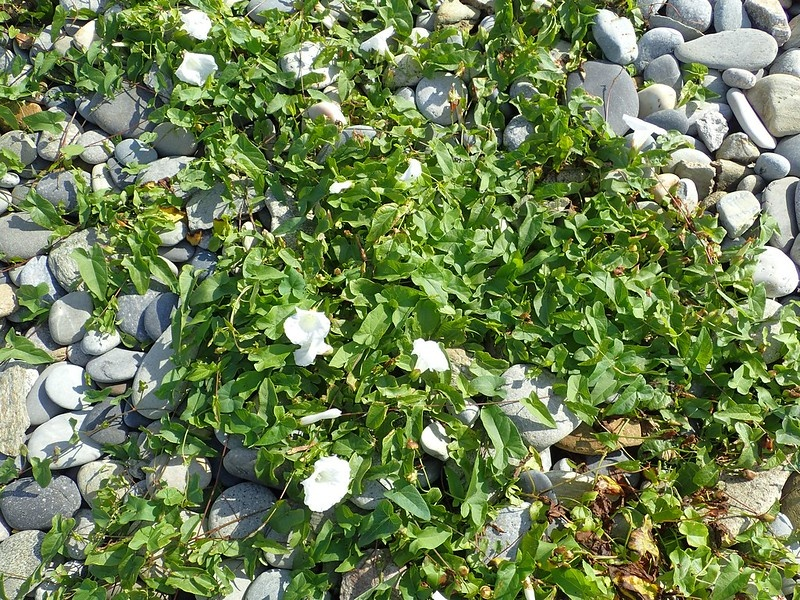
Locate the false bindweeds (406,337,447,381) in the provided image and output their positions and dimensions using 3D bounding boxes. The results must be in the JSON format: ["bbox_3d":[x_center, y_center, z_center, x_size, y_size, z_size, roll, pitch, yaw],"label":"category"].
[{"bbox_3d":[0.108,0.198,2.682,0.134,0.103,0.115,0,80,-5],"label":"false bindweeds"}]

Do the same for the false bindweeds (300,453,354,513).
[{"bbox_3d":[-0.241,0.590,2.550,0.157,0.080,0.173,21,80,-14],"label":"false bindweeds"}]

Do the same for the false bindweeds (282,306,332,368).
[{"bbox_3d":[-0.322,0.128,2.719,0.153,0.179,0.183,-21,82,-8],"label":"false bindweeds"}]
